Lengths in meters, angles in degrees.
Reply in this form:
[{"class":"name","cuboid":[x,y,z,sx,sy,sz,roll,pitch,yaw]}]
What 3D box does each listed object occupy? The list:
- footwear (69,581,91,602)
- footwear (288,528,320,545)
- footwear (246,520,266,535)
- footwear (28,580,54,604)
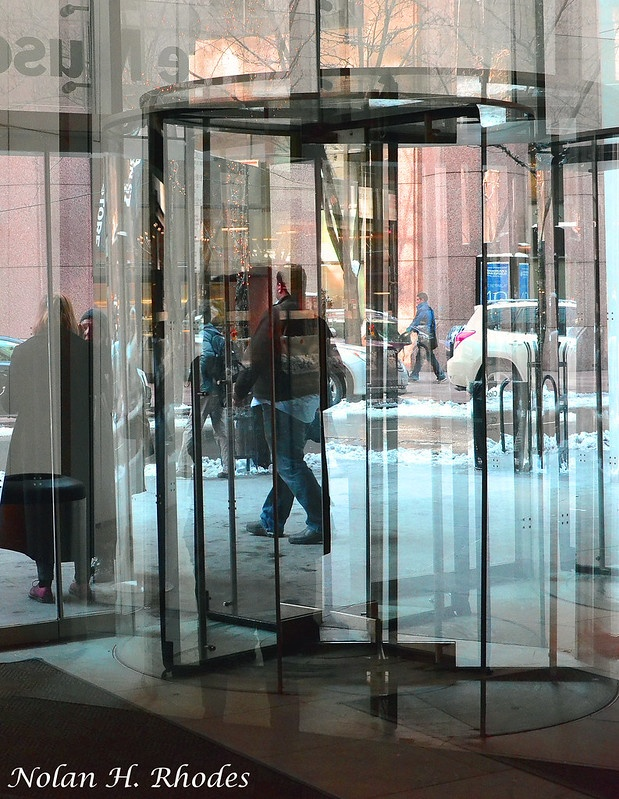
[{"class":"footwear","cuboid":[-1.009,0.857,4.011,0.056,0.090,0.118,0,9,-39]},{"class":"footwear","cuboid":[-0.013,0.548,3.624,0.153,0.072,0.054,3,-2,-15]},{"class":"footwear","cuboid":[-0.202,0.510,3.564,0.099,0.050,0.037,10,10,13]},{"class":"footwear","cuboid":[-1.187,0.855,4.027,0.056,0.063,0.136,-1,7,-41]}]
